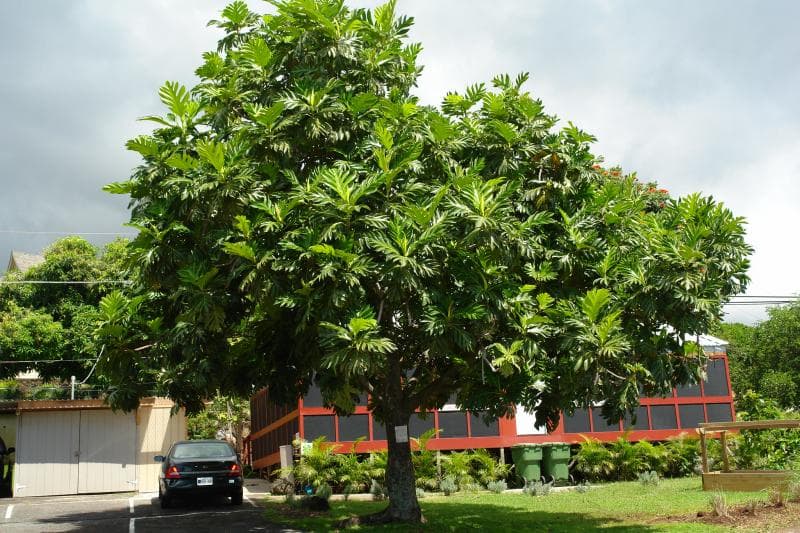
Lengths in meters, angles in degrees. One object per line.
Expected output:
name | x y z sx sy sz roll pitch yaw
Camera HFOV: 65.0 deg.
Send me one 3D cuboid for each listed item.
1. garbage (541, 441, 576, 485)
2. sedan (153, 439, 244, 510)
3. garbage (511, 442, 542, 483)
garbage | 5.663 7.147 22.646 0.949 1.431 0.669 -4 -17 11
sedan | -5.510 5.678 17.200 2.185 1.772 1.840 -8 -18 23
garbage | 4.599 7.051 22.466 1.054 1.298 0.938 -1 -16 3
